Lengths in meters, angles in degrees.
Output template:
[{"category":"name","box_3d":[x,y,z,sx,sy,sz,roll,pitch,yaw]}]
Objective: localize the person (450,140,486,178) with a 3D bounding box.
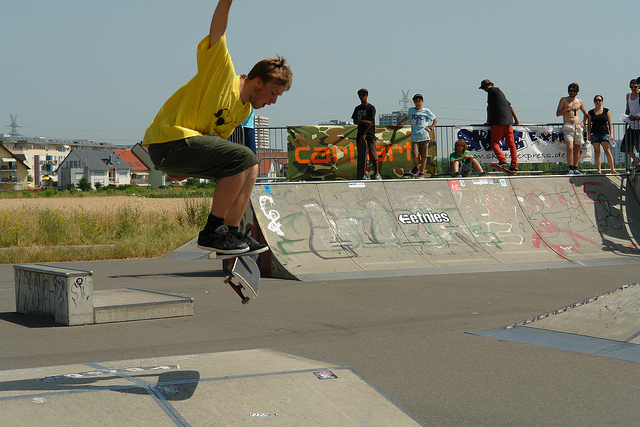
[{"category":"person","box_3d":[3.317,-1.294,17.854,0.784,0.880,0.930,-4,5,-16]}]

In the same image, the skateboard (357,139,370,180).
[{"category":"skateboard","box_3d":[0.988,-1.269,17.852,0.264,0.882,0.177,8,10,33]}]

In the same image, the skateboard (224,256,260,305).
[{"category":"skateboard","box_3d":[-0.942,0.766,9.165,0.478,0.235,0.731,40,17,-11]}]

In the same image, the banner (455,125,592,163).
[{"category":"banner","box_3d":[5.655,-1.780,19.560,4.705,0.979,0.047,-1,1,-13]}]
